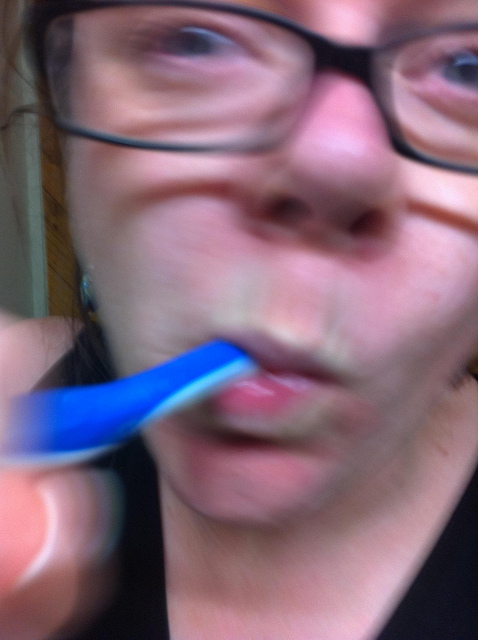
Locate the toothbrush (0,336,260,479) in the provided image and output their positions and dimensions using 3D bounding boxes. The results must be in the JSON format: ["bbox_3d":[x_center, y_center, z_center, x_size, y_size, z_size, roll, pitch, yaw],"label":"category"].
[{"bbox_3d":[-0.090,0.083,0.597,0.263,0.053,0.065,-18,42,12],"label":"toothbrush"}]
